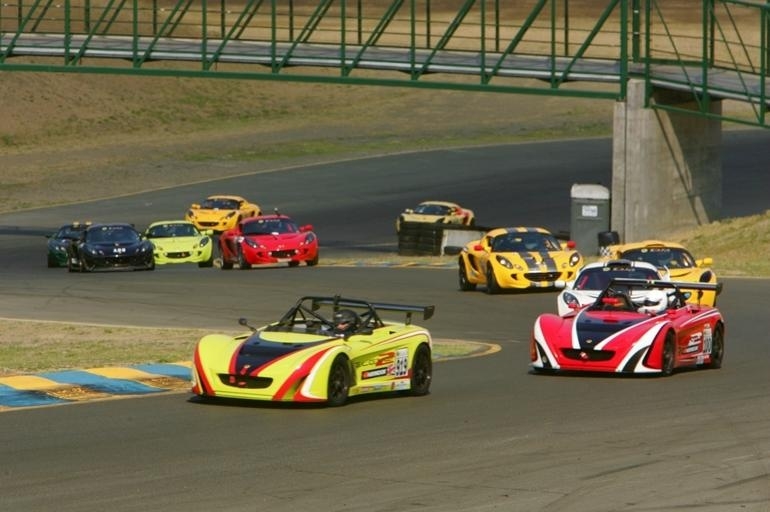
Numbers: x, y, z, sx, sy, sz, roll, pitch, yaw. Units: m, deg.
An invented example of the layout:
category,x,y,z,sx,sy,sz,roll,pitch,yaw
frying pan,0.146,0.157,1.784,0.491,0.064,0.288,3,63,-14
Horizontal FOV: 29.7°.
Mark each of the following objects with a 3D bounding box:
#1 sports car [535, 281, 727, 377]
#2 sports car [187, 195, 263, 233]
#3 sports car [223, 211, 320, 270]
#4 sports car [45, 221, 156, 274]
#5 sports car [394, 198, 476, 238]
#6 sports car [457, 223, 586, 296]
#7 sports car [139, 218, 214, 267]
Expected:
category,x,y,z,sx,sy,sz,roll,pitch,yaw
sports car,5.072,1.559,30.075,3.199,1.787,6.688,1,1,23
sports car,-7.346,-1.629,53.906,2.428,1.469,5.011,1,0,0
sports car,-3.775,-0.482,44.525,2.196,1.367,4.454,-2,4,-22
sports car,-8.798,-0.210,43.950,5.711,1.757,2.462,0,-2,39
sports car,1.784,-1.329,52.736,2.108,0.757,3.036,2,0,15
sports car,3.613,0.126,39.270,3.200,1.490,1.620,1,1,4
sports car,-6.509,-0.372,45.633,1.836,1.176,3.695,-1,3,-22
